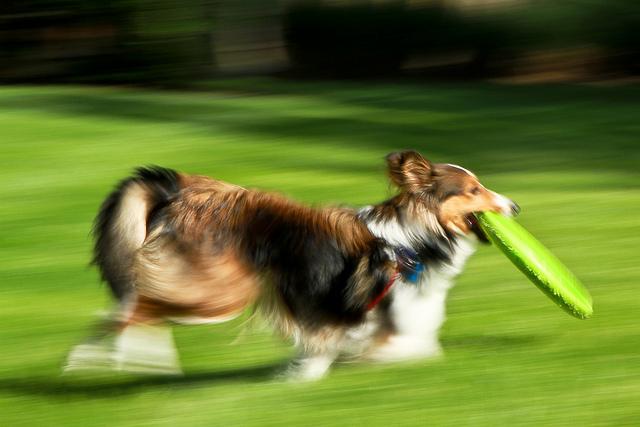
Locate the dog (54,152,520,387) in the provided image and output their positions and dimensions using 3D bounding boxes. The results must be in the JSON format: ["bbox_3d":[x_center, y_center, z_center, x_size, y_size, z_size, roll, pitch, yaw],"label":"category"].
[{"bbox_3d":[-0.258,0.447,5.869,3.201,1.819,1.299,1,40,0],"label":"dog"}]
